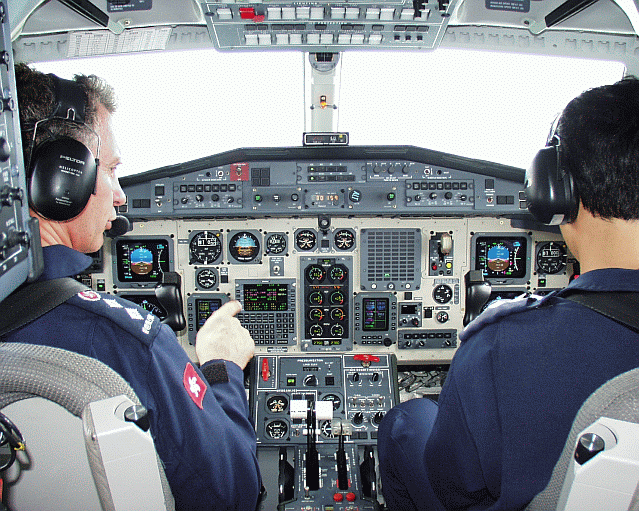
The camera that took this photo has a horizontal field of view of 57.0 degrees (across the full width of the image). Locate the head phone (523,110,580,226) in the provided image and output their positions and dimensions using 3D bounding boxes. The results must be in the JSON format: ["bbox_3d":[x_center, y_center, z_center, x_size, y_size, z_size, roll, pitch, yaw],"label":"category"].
[{"bbox_3d":[0.723,-0.278,1.867,0.111,0.320,0.256,-4,-4,11],"label":"head phone"}]
